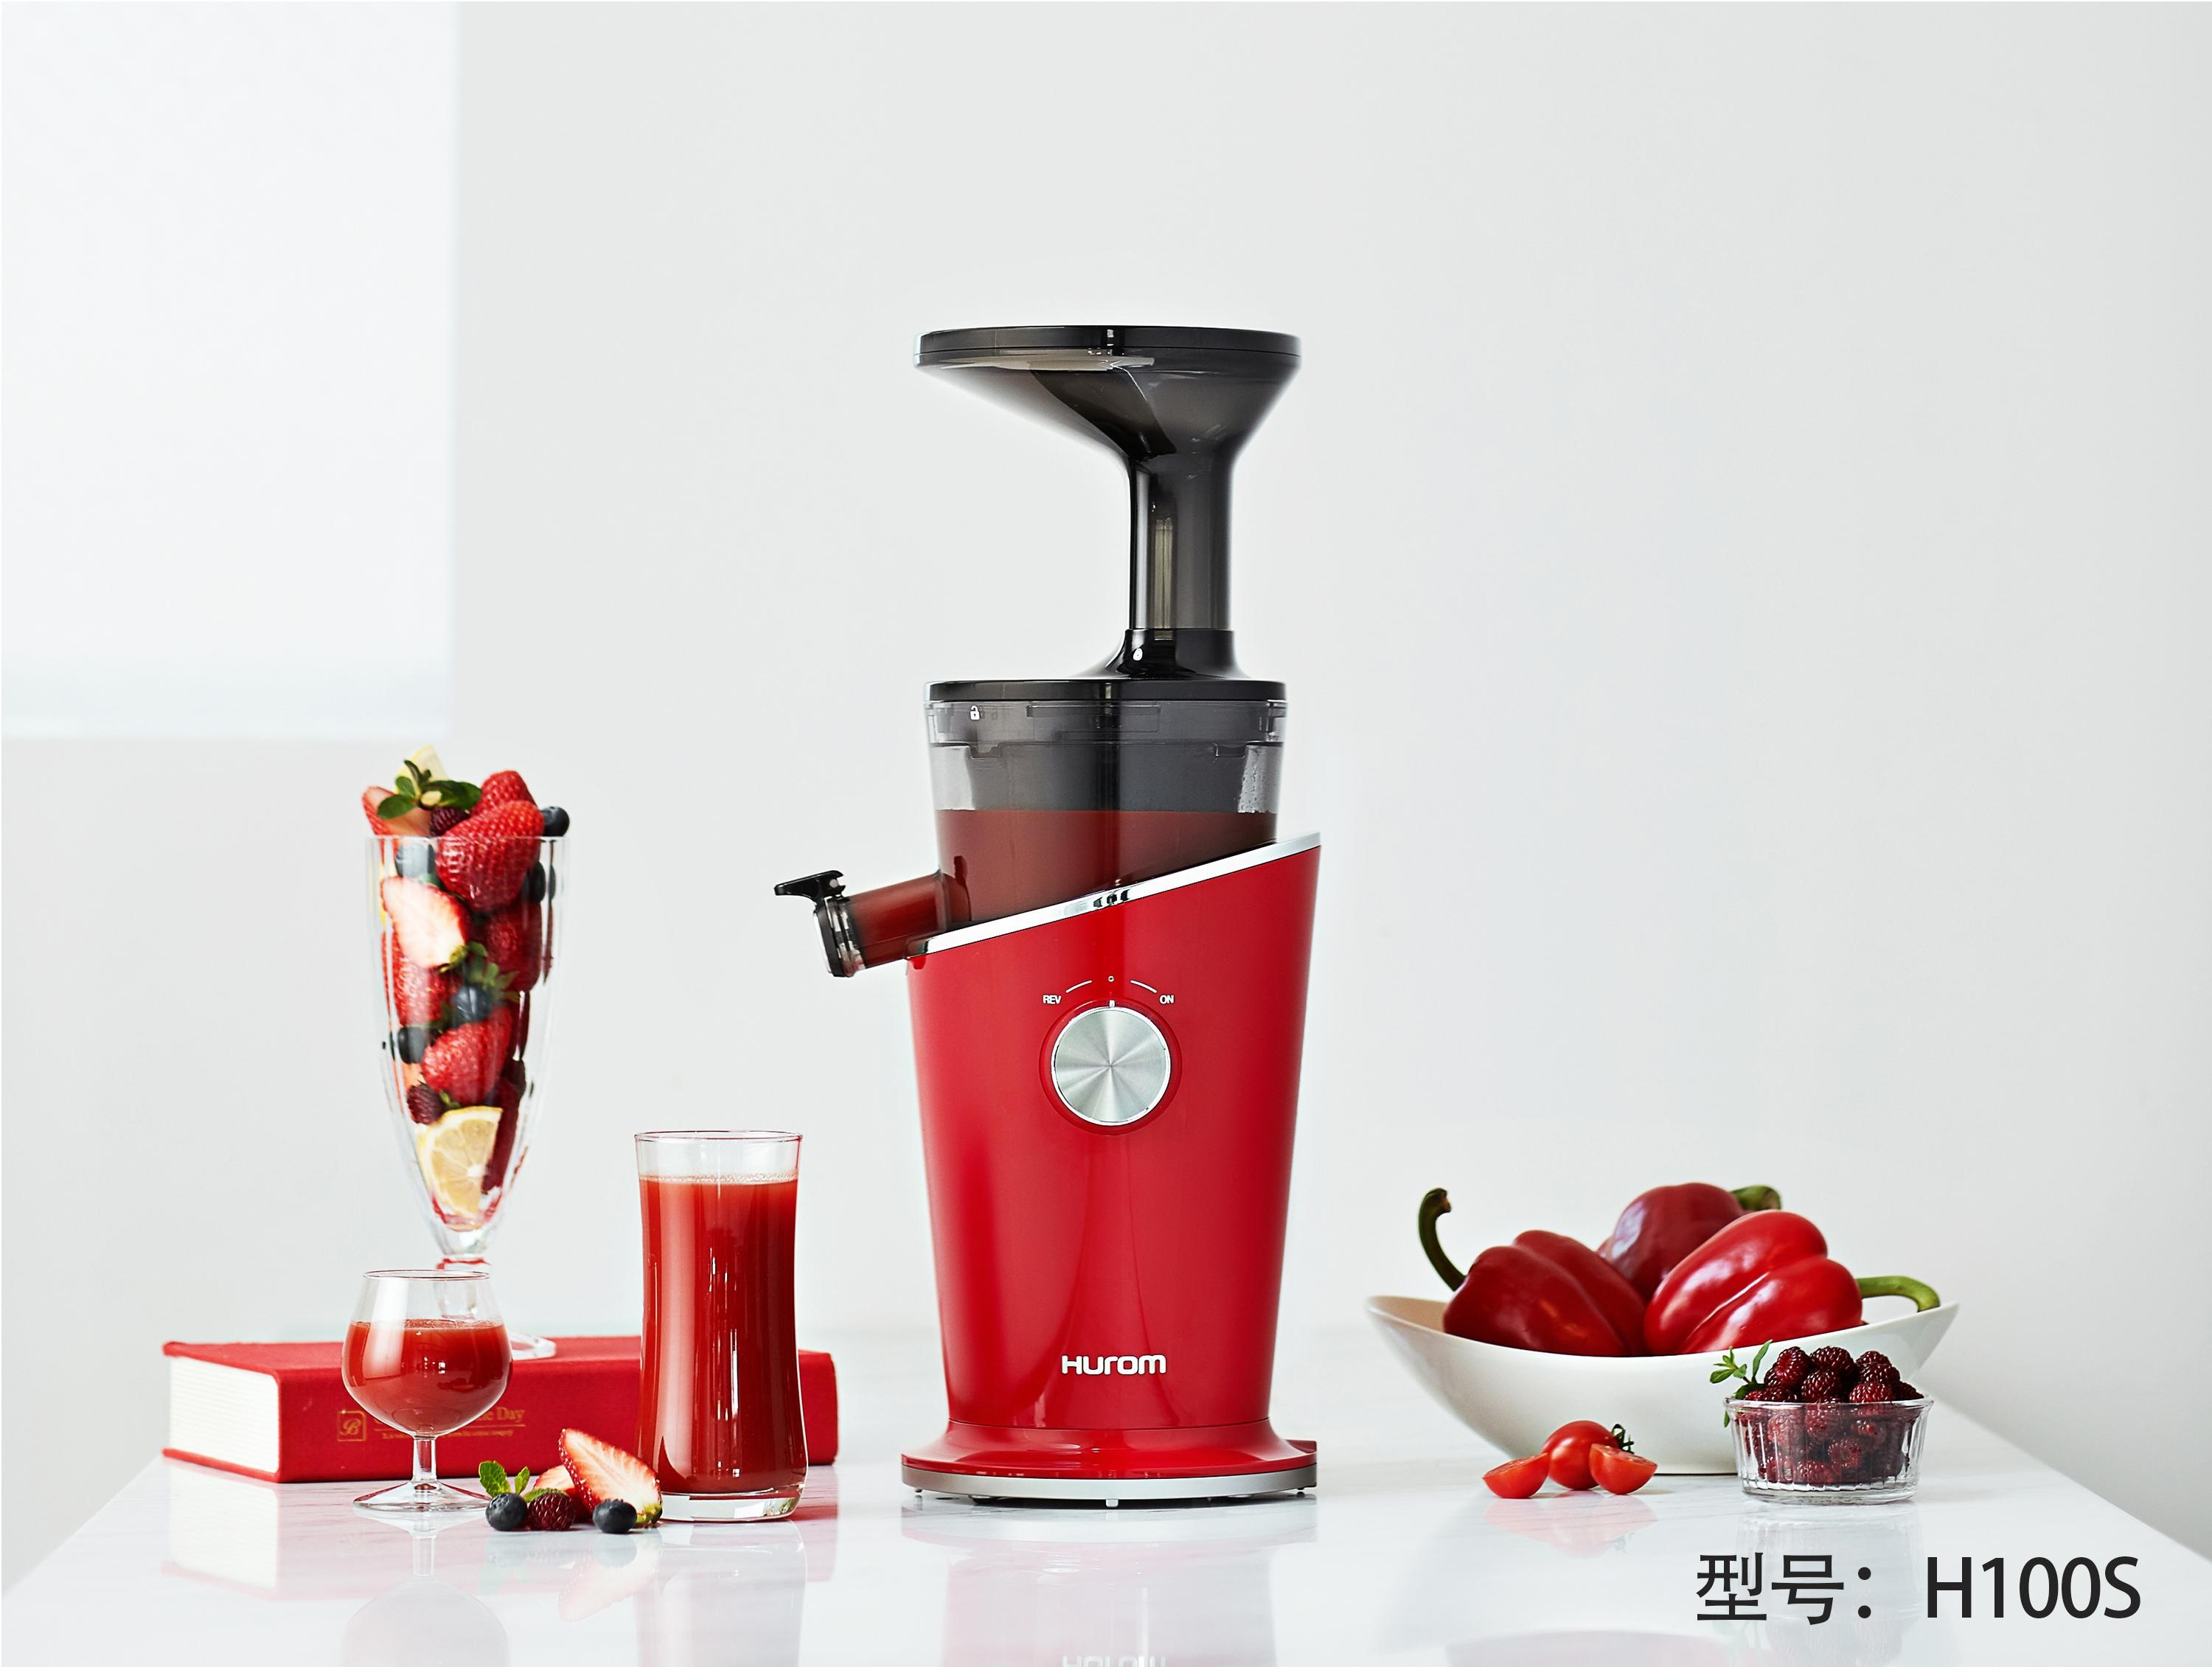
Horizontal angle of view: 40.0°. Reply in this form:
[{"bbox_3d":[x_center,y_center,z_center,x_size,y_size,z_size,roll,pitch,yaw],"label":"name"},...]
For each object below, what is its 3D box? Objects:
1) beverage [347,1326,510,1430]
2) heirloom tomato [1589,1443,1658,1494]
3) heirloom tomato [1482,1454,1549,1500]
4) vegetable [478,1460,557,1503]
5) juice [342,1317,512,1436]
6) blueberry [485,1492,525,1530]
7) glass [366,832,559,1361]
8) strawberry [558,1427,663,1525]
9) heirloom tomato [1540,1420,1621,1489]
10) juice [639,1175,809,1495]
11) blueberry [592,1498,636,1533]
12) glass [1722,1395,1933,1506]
[{"bbox_3d":[-0.352,0.279,1.568,0.064,0.044,0.063,-1,-3,0],"label":"beverage"},{"bbox_3d":[0.278,0.343,1.634,0.029,0.018,0.028,17,0,-9],"label":"heirloom tomato"},{"bbox_3d":[0.218,0.348,1.641,0.026,0.016,0.025,-22,-6,-44],"label":"heirloom tomato"},{"bbox_3d":[-0.311,0.339,1.594,0.036,0.012,0.026,10,-2,-29],"label":"vegetable"},{"bbox_3d":[-0.360,0.288,1.603,0.089,0.063,0.091,-5,-7,43],"label":"juice"},{"bbox_3d":[-0.310,0.350,1.570,0.021,0.020,0.011,1,-1,-7],"label":"blueberry"},{"bbox_3d":[-0.360,0.117,1.693,0.103,0.249,0.077,1,-1,-2],"label":"glass"},{"bbox_3d":[-0.257,0.333,1.569,0.056,0.031,0.018,44,-2,7],"label":"strawberry"},{"bbox_3d":[0.254,0.333,1.660,0.046,0.037,0.038,1,8,-7],"label":"heirloom tomato"},{"bbox_3d":[-0.198,0.266,1.562,0.080,0.174,0.030,1,-1,-7],"label":"juice"},{"bbox_3d":[-0.255,0.350,1.558,0.026,0.018,0.014,0,-1,25],"label":"blueberry"},{"bbox_3d":[0.389,0.336,1.666,0.118,0.056,0.120,-2,-10,7],"label":"glass"}]
